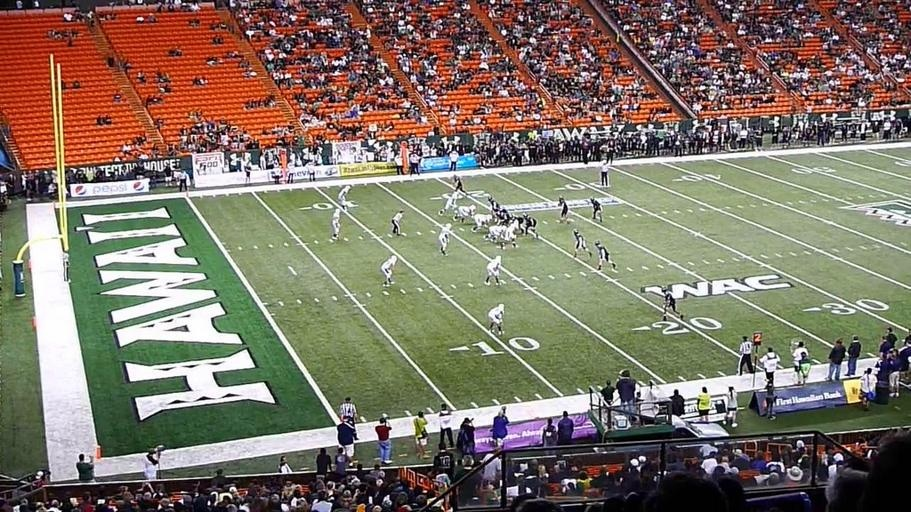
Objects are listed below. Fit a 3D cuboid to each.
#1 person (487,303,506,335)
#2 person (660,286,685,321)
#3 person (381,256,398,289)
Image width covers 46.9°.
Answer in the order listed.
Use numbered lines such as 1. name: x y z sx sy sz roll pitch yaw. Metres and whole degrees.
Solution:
1. person: 1.834 2.767 45.566 0.946 1.249 0.464 12 48 11
2. person: 9.533 2.050 46.329 1.607 1.723 0.875 1 22 10
3. person: -3.074 0.807 49.756 0.848 0.642 1.343 -12 -29 -23
